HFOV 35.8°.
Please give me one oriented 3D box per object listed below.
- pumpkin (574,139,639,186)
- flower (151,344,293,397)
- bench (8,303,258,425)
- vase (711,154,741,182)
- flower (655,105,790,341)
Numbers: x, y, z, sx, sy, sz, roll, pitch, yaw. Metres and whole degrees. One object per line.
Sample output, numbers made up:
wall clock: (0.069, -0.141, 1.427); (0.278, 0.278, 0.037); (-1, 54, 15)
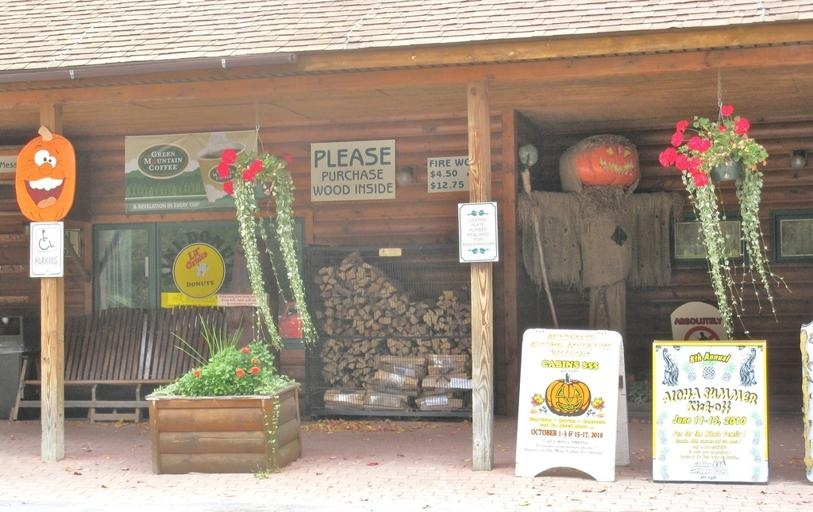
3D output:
pumpkin: (3.021, -1.328, 18.658); (0.820, 0.678, 0.780); (2, -11, -36)
flower: (-2.310, 1.468, 16.274); (1.650, 0.622, 0.718); (-2, -2, -5)
bench: (-4.106, 2.251, 19.369); (4.889, 2.023, 1.649); (-1, -5, 3)
vase: (4.442, -1.204, 17.536); (0.518, 0.420, 0.479); (1, 2, 11)
flower: (4.025, -0.697, 15.808); (1.308, 2.236, 1.032); (2, -17, -25)
